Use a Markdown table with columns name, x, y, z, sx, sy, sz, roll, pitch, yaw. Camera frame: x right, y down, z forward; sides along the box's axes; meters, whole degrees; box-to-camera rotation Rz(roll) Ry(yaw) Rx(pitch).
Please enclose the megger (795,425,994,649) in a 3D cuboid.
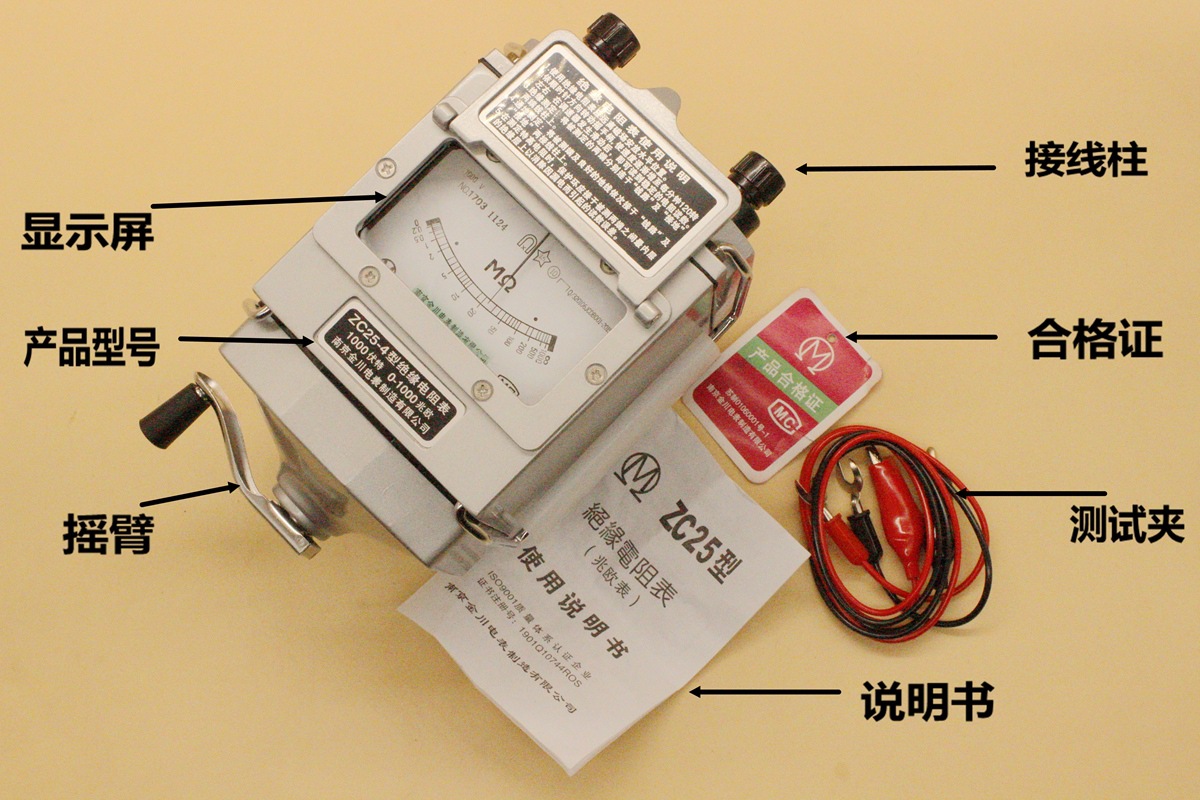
| name | x | y | z | sx | sy | sz | roll | pitch | yaw |
| --- | --- | --- | --- | --- | --- | --- | --- | --- | --- |
| megger | 0.512 | 0.239 | 1.924 | 0.341 | 0.389 | 0.172 | 0 | 7 | 10 |
